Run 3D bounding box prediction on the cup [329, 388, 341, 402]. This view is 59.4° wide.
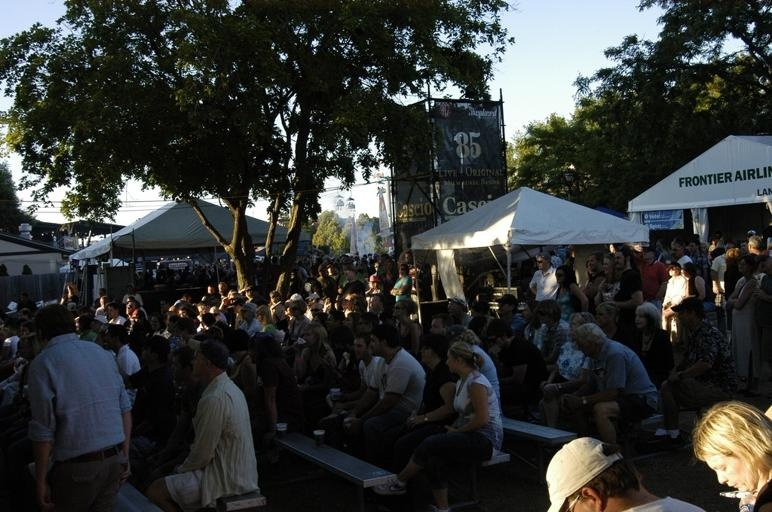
[{"bbox_3d":[-0.802,2.218,10.743,0.165,0.183,0.176,1,-6,0],"label":"cup"}]

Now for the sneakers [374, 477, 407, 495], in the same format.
[{"bbox_3d":[0.076,2.946,8.608,0.458,0.210,0.211,5,-3,-11],"label":"sneakers"}]

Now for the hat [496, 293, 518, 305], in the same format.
[{"bbox_3d":[2.135,0.767,11.897,0.257,0.125,0.189,8,-1,8],"label":"hat"}]

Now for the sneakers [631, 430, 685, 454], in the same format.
[{"bbox_3d":[3.926,2.712,9.804,0.667,0.276,0.217,-11,10,-5],"label":"sneakers"}]

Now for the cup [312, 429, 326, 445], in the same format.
[{"bbox_3d":[-0.929,2.547,9.537,0.247,0.258,0.245,-1,-7,0],"label":"cup"}]

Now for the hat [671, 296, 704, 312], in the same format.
[{"bbox_3d":[4.408,0.726,9.913,0.371,0.213,0.242,7,-1,14],"label":"hat"}]

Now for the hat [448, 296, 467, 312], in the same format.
[{"bbox_3d":[1.339,0.899,12.372,0.351,0.181,0.227,20,2,-5],"label":"hat"}]

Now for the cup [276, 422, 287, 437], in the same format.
[{"bbox_3d":[-1.498,2.526,9.803,0.165,0.141,0.146,-1,-3,16],"label":"cup"}]
